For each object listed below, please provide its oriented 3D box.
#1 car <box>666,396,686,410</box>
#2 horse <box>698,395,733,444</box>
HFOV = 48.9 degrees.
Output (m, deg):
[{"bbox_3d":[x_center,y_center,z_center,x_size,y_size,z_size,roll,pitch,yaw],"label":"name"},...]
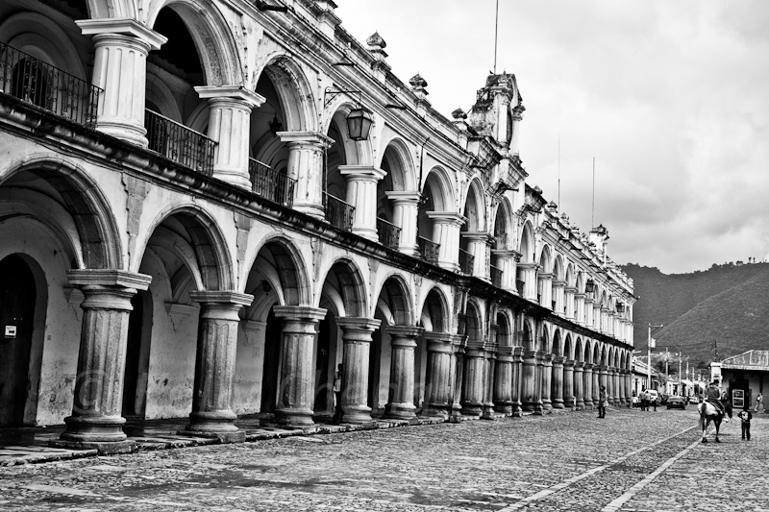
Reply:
[{"bbox_3d":[24.490,12.200,71.002,0.885,0.723,2.182,0,-1,18],"label":"car"},{"bbox_3d":[10.929,5.281,27.963,1.961,1.389,0.590,3,2,-42],"label":"horse"}]
